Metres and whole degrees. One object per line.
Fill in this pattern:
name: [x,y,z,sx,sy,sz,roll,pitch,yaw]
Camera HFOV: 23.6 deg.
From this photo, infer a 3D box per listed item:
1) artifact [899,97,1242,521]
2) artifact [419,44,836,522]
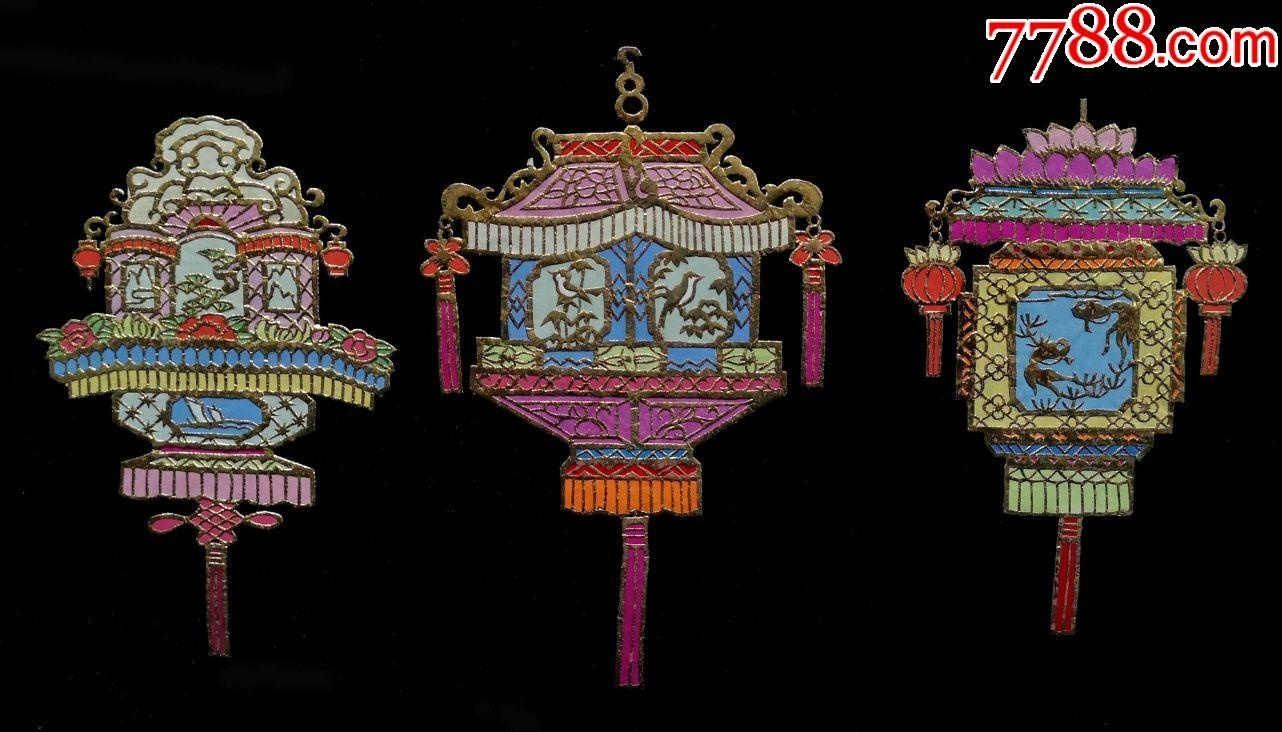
artifact: [2.079,-0.218,14.738,1.399,1.928,0.337,2,-5,7]
artifact: [-0.082,-0.381,14.741,1.756,2.250,0.341,2,-5,-2]
